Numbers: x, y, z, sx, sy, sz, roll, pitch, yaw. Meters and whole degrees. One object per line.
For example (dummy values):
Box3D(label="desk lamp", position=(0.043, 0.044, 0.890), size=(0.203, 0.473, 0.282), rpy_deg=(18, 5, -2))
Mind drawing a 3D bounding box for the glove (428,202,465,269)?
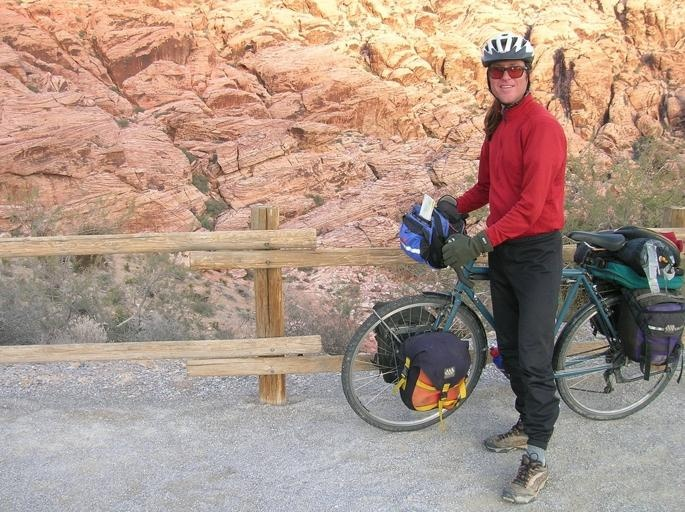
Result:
Box3D(label="glove", position=(0.871, -0.196, 5.559), size=(0.215, 0.535, 0.397), rpy_deg=(4, -5, 20))

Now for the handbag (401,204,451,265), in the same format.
Box3D(label="handbag", position=(0.687, -0.163, 5.476), size=(0.525, 0.391, 0.219), rpy_deg=(19, -33, -17))

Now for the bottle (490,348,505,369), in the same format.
Box3D(label="bottle", position=(1.377, 0.912, 5.804), size=(0.066, 0.166, 0.124), rpy_deg=(-21, 4, 1))

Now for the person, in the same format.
Box3D(label="person", position=(1.390, 0.104, 5.383), size=(0.676, 3.758, 0.896), rpy_deg=(4, 15, 37))

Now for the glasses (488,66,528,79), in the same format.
Box3D(label="glasses", position=(1.349, -1.496, 5.361), size=(0.290, 0.109, 0.055), rpy_deg=(-2, 12, 11))
